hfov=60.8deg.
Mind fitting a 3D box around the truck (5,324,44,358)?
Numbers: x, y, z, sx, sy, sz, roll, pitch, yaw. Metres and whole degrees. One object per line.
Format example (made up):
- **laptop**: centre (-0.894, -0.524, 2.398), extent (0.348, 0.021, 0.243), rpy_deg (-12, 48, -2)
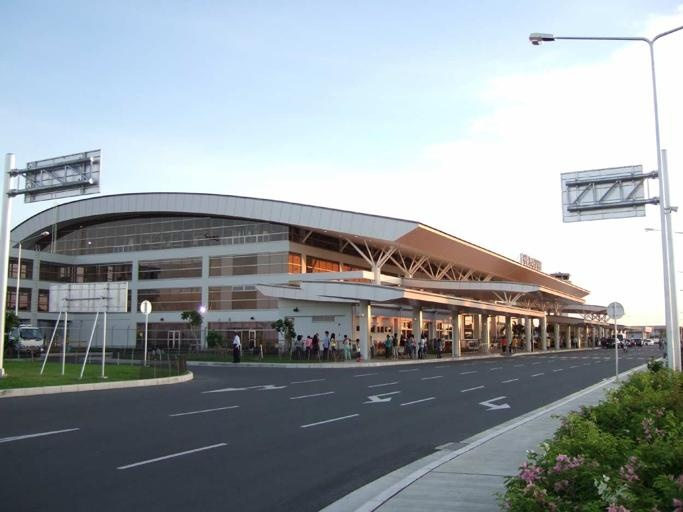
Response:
- **truck**: centre (-27.430, 7.294, 50.301), extent (2.436, 2.797, 4.760), rpy_deg (2, -8, -33)
